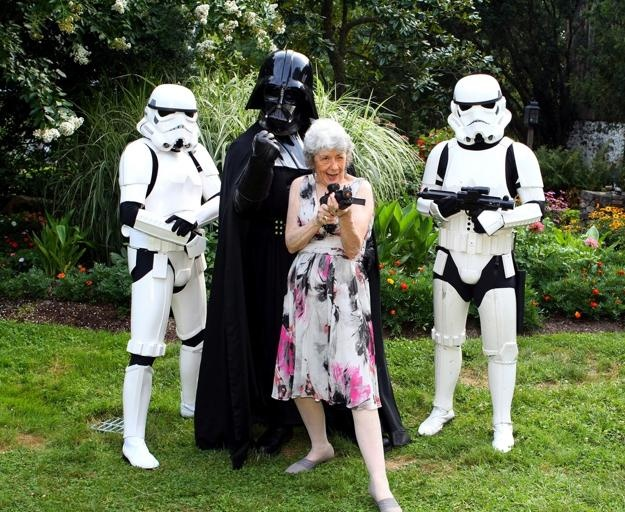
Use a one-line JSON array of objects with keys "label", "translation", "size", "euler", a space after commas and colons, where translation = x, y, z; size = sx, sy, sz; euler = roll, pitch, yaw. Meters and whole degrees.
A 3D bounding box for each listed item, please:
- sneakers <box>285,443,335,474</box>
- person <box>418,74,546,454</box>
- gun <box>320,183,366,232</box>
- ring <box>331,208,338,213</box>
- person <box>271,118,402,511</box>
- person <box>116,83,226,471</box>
[{"label": "sneakers", "translation": [-0.016, 1.371, 4.729], "size": [0.367, 0.165, 0.125], "euler": [-7, -4, -36]}, {"label": "person", "translation": [1.193, 0.023, 4.995], "size": [0.885, 2.643, 0.468], "euler": [0, -1, 20]}, {"label": "gun", "translation": [0.168, -0.333, 4.294], "size": [0.131, 0.327, 0.463], "euler": [-3, 4, -25]}, {"label": "ring", "translation": [0.131, -0.271, 4.164], "size": [0.026, 0.031, 0.037], "euler": [1, -1, -35]}, {"label": "person", "translation": [0.151, 0.337, 4.448], "size": [0.873, 2.397, 0.517], "euler": [-1, -1, 44]}, {"label": "person", "translation": [-1.005, 0.117, 4.873], "size": [0.709, 2.595, 0.491], "euler": [1, -1, -43]}]
